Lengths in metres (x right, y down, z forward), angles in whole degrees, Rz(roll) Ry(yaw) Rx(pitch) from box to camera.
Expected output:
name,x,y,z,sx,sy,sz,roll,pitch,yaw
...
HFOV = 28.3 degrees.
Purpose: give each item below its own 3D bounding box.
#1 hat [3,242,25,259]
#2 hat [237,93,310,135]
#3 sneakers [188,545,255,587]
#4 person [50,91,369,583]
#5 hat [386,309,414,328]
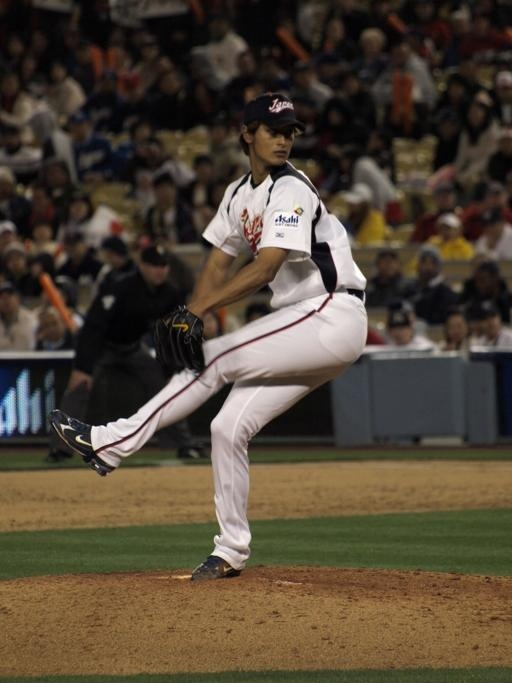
name,x,y,z,sx,sy,sz,roll,pitch,yaw
hat,-2.115,-0.799,8.871,0.179,0.083,0.164,-6,-12,20
hat,0.055,-0.818,3.674,0.208,0.101,0.139,4,8,44
sneakers,-0.122,0.825,3.643,0.213,0.074,0.074,1,-4,-34
person,-0.085,-0.016,3.732,0.842,1.727,0.592,0,0,34
hat,1.091,-0.170,7.750,0.165,0.096,0.162,0,1,43
